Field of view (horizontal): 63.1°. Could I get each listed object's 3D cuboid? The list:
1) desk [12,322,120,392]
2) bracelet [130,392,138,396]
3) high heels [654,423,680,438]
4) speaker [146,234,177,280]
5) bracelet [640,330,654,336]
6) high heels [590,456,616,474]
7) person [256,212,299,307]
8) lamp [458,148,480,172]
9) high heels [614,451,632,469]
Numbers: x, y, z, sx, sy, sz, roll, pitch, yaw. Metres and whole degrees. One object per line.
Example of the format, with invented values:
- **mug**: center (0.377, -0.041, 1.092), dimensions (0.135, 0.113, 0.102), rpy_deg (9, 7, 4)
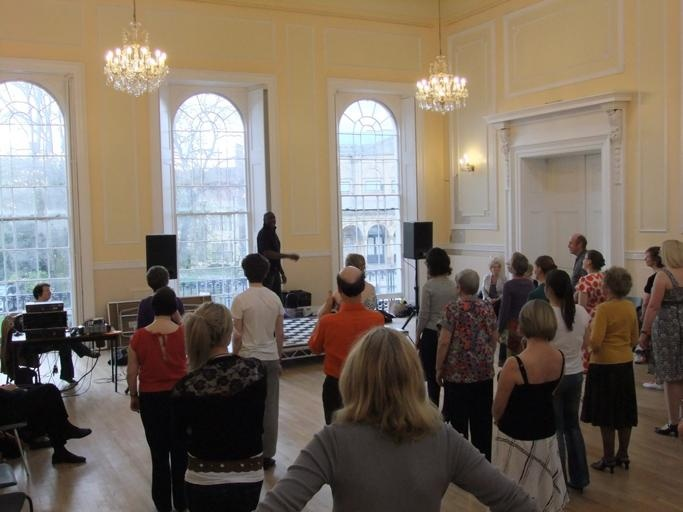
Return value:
- **desk**: center (-3.295, 1.280, 6.691), dimensions (1.165, 0.629, 0.942), rpy_deg (-4, 2, -28)
- **bracelet**: center (-1.514, 1.003, 4.067), dimensions (0.044, 0.045, 0.037), rpy_deg (0, 0, -4)
- **high heels**: center (3.133, 1.670, 5.345), dimensions (0.171, 0.098, 0.091), rpy_deg (3, 0, 28)
- **speaker**: center (-2.572, -0.106, 7.970), dimensions (0.411, 0.633, 0.305), rpy_deg (-3, 31, -20)
- **bracelet**: center (2.977, 0.746, 5.436), dimensions (0.090, 0.071, 0.132), rpy_deg (1, -1, -4)
- **high heels**: center (2.227, 1.769, 4.742), dimensions (0.103, 0.092, 0.170), rpy_deg (-1, 4, -44)
- **person**: center (-0.942, 0.234, 8.436), dimensions (0.586, 1.787, 0.626), rpy_deg (-2, -4, 21)
- **lamp**: center (2.421, -1.818, 10.522), dimensions (0.229, 0.494, 0.455), rpy_deg (2, -3, -32)
- **high heels**: center (2.400, 1.740, 4.764), dimensions (0.082, 0.075, 0.166), rpy_deg (-1, 8, 5)
